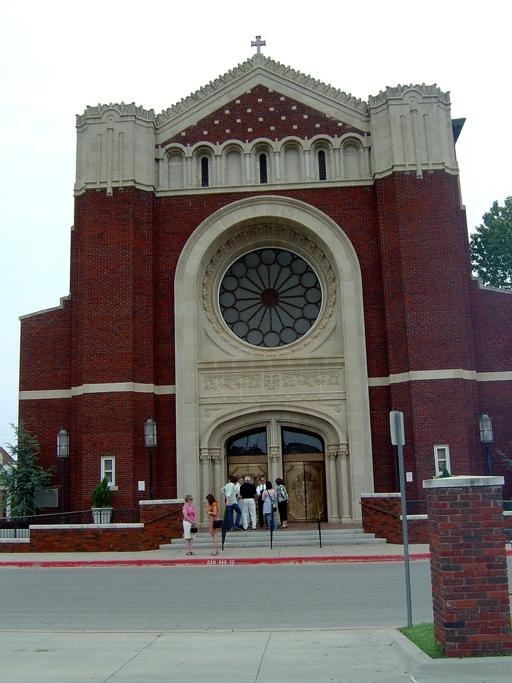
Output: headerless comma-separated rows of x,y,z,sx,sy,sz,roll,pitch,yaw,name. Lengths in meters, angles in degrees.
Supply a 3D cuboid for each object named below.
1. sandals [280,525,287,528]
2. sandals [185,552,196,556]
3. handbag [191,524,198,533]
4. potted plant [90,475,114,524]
0.802,5.264,21.841,0.214,0.123,0.066,0,-14,12,sandals
-1.540,5.011,18.104,0.304,0.103,0.103,-2,-6,9,sandals
-1.420,4.407,18.029,0.222,0.198,0.136,-11,-15,39,handbag
-4.593,4.745,22.929,0.631,1.312,0.894,0,-14,-12,potted plant
